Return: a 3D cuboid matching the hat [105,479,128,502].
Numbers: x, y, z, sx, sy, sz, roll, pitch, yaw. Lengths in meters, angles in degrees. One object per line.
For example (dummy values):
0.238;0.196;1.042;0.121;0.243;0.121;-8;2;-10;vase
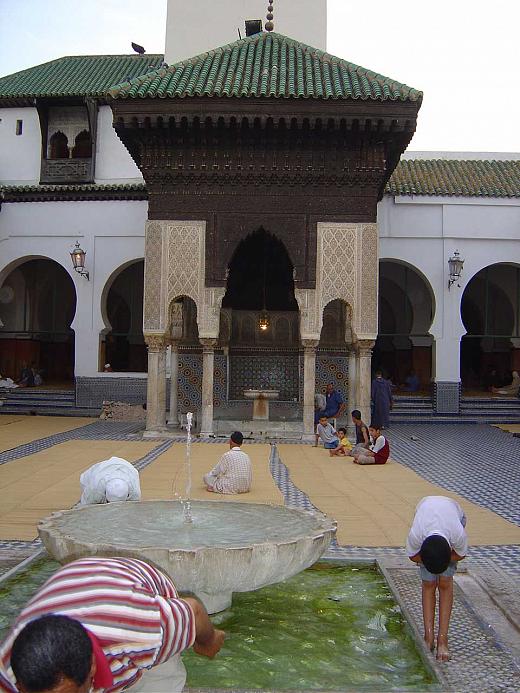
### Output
-0.717;0.717;3.243;0.102;0.101;0.105;0;3;-11;hat
